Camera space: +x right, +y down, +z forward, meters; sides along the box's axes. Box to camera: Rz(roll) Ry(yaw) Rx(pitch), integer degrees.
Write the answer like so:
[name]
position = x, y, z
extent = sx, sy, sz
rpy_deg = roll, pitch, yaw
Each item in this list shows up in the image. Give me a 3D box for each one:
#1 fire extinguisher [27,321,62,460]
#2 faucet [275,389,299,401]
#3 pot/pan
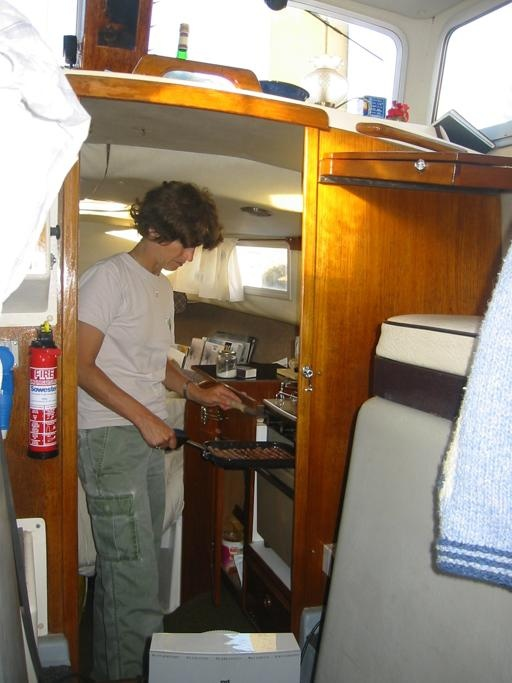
[fire extinguisher]
position = -0.497, 0.131, 1.269
extent = 0.077, 0.260, 0.156
rpy_deg = 1, 5, -20
[faucet]
position = 0.124, 0.223, 2.233
extent = 0.084, 0.031, 0.030
rpy_deg = -1, -1, 34
[pot/pan]
position = -0.050, 0.362, 1.771
extent = 0.288, 0.033, 0.168
rpy_deg = 2, -2, -6
